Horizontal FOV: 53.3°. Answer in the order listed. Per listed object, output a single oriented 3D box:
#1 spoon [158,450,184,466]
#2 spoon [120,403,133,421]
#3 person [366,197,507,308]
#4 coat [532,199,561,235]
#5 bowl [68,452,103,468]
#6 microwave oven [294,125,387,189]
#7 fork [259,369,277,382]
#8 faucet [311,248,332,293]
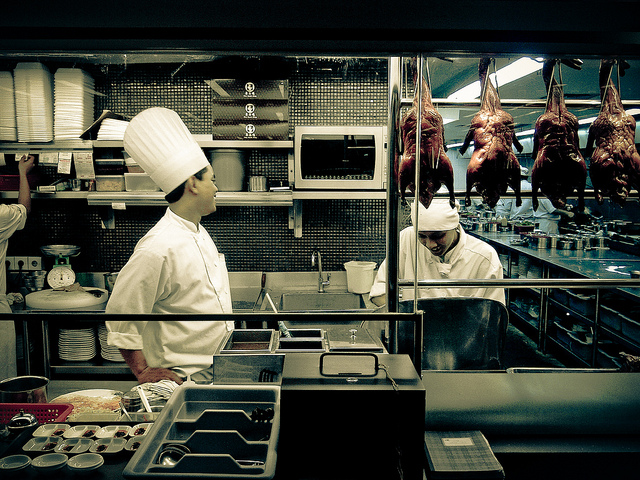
[{"bbox_3d":[-0.460,0.662,1.938,0.047,0.014,0.039,23,-49,-23],"label":"spoon"},{"bbox_3d":[-0.699,0.621,2.307,0.010,0.007,0.063,3,34,-43],"label":"spoon"},{"bbox_3d":[0.683,0.187,3.757,0.770,0.926,0.470,6,22,17],"label":"person"},{"bbox_3d":[2.499,-0.271,6.996,0.261,0.372,0.548,0,4,19],"label":"coat"},{"bbox_3d":[-0.749,0.703,2.036,0.103,0.027,0.053,-2,4,-19],"label":"bowl"},{"bbox_3d":[0.131,-0.538,4.216,0.602,0.435,0.508,0,7,1],"label":"microwave oven"},{"bbox_3d":[-0.189,0.492,2.310,0.064,0.034,0.057,-1,3,7],"label":"fork"},{"bbox_3d":[0.012,0.210,4.535,0.147,0.304,0.307,-1,3,-1],"label":"faucet"}]
